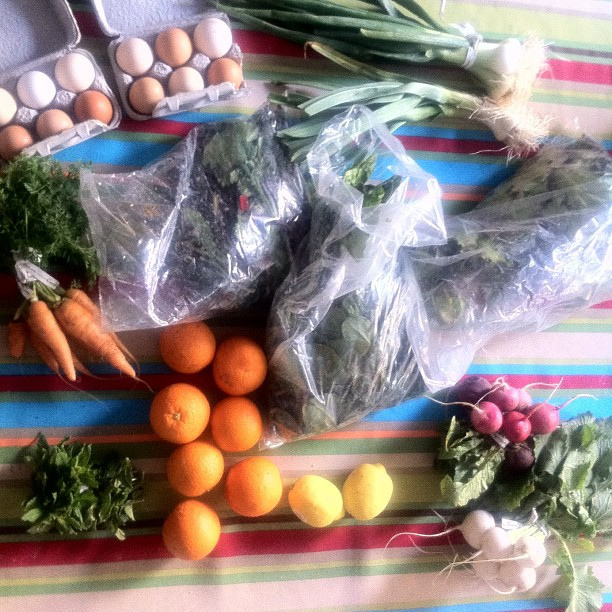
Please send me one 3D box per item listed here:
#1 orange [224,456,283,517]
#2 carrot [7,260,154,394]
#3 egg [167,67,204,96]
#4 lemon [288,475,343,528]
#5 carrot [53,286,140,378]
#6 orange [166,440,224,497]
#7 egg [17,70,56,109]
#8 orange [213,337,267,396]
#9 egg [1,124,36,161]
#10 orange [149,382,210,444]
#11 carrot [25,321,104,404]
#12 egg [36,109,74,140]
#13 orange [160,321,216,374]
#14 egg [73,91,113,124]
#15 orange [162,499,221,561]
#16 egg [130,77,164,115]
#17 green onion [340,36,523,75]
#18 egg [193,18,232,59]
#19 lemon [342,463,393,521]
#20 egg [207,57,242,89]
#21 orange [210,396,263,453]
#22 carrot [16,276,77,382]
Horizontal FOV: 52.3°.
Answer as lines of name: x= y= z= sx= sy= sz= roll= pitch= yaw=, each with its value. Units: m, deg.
orange: x=-0.090 y=0.303 z=1.095 sx=0.127 sy=0.093 sz=0.100 roll=0 pitch=3 yaw=-6
carrot: x=-0.432 y=0.039 z=1.146 sx=0.169 sy=0.273 sz=0.082 roll=-42 pitch=7 yaw=-5
egg: x=-0.222 y=-0.403 z=1.121 sx=0.070 sy=0.063 sz=0.055 roll=1 pitch=36 yaw=1
lemon: x=0.019 y=0.336 z=1.136 sx=0.115 sy=0.086 sz=0.109 roll=-7 pitch=40 yaw=-4
carrot: x=-0.390 y=0.033 z=1.117 sx=0.222 sy=0.053 sz=0.049 roll=45 pitch=28 yaw=2
orange: x=-0.188 y=0.273 z=1.054 sx=0.088 sy=0.086 sz=0.072 roll=-27 pitch=36 yaw=-34
egg: x=-0.488 y=-0.381 z=1.104 sx=0.053 sy=0.064 sz=0.042 roll=7 pitch=33 yaw=22
orange: x=-0.116 y=0.108 z=1.071 sx=0.082 sy=0.100 sz=0.078 roll=7 pitch=32 yaw=22
egg: x=-0.518 y=-0.283 z=1.091 sx=0.058 sy=0.055 sz=0.029 roll=-16 pitch=32 yaw=-19
orange: x=-0.220 y=0.182 z=1.047 sx=0.110 sy=0.071 sz=0.111 roll=-8 pitch=46 yaw=-7
carrot: x=-0.434 y=0.102 z=1.091 sx=0.046 sy=0.162 sz=0.028 roll=-43 pitch=5 yaw=16
egg: x=-0.454 y=-0.321 z=1.104 sx=0.066 sy=0.049 sz=0.040 roll=-13 pitch=30 yaw=-13
orange: x=-0.205 y=0.069 z=1.054 sx=0.099 sy=0.060 sz=0.054 roll=-23 pitch=45 yaw=-32
egg: x=-0.386 y=-0.353 z=1.107 sx=0.075 sy=0.065 sz=0.062 roll=2 pitch=16 yaw=3
orange: x=-0.202 y=0.378 z=1.054 sx=0.130 sy=0.081 sz=0.113 roll=-5 pitch=41 yaw=0
egg: x=-0.291 y=-0.375 z=1.120 sx=0.072 sy=0.062 sz=0.062 roll=3 pitch=9 yaw=7
green onion: x=0.237 y=-0.506 z=1.220 sx=0.376 sy=0.069 sz=0.073 roll=11 pitch=32 yaw=14
egg: x=-0.173 y=-0.481 z=1.121 sx=0.086 sy=0.083 sz=0.064 roll=-2 pitch=62 yaw=1
lemon: x=0.106 y=0.332 z=1.120 sx=0.076 sy=0.086 sz=0.109 roll=17 pitch=45 yaw=21
egg: x=-0.155 y=-0.420 z=1.139 sx=0.069 sy=0.060 sz=0.057 roll=-1 pitch=20 yaw=-11
orange: x=-0.121 y=0.202 z=1.068 sx=0.088 sy=0.087 sz=0.072 roll=-9 pitch=29 yaw=-5
carrot: x=-0.443 y=0.052 z=1.068 sx=0.044 sy=0.209 sz=0.087 roll=-22 pitch=34 yaw=-21
